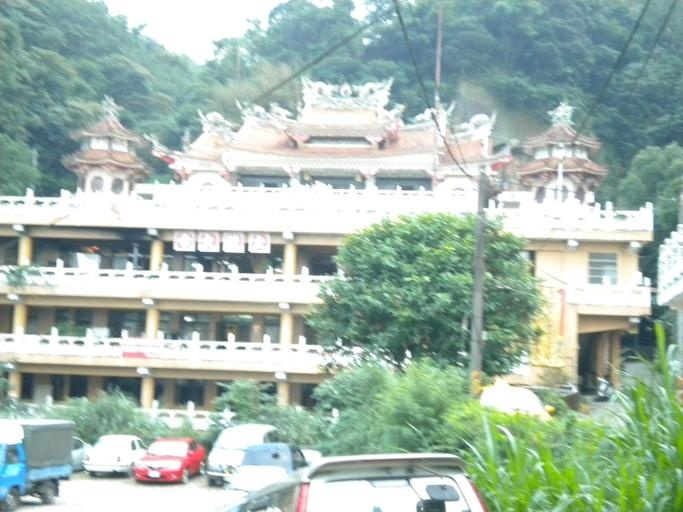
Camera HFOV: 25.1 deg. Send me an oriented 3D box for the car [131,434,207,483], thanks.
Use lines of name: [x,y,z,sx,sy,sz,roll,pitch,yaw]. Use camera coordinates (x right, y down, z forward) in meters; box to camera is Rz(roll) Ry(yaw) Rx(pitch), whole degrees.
car: [-8.558,10.288,76.104,3.452,2.249,1.676,4,-12,-18]

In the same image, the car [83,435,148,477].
car: [-11.345,10.177,77.476,2.377,1.769,4.495,0,-6,2]
